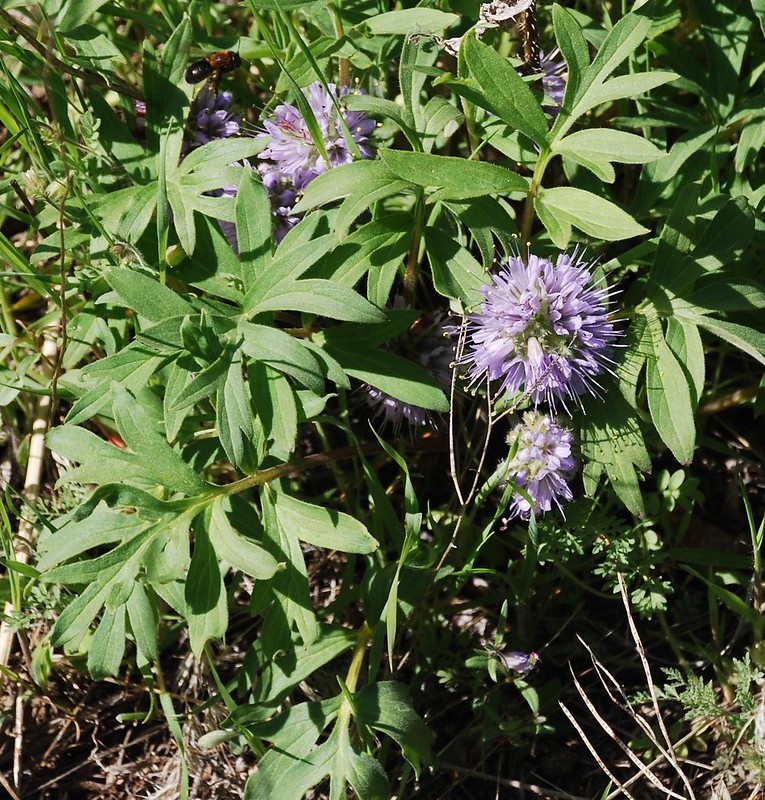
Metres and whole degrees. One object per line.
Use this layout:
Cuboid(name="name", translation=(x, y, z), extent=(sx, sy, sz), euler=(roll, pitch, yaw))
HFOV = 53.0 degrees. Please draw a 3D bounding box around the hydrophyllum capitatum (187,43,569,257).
Cuboid(name="hydrophyllum capitatum", translation=(-0.214, -0.806, 2.263), extent=(0.700, 0.419, 0.767), euler=(-19, 47, -1))
